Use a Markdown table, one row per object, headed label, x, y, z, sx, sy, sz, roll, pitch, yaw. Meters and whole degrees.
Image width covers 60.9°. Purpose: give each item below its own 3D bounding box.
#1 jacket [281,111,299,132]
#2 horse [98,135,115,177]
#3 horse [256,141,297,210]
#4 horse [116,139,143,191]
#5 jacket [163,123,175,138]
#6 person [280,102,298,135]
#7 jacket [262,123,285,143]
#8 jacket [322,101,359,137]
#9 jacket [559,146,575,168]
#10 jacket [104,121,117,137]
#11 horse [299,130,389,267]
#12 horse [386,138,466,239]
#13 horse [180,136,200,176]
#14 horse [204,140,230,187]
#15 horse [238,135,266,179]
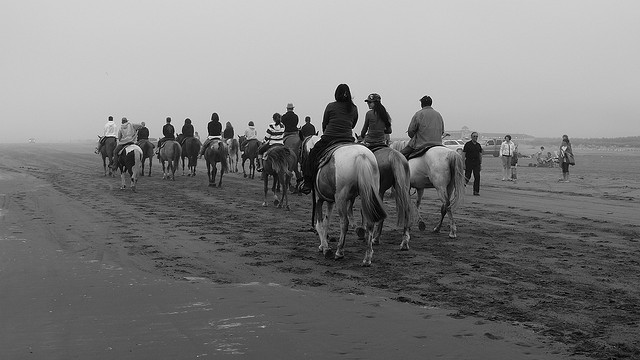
| label | x | y | z | sx | sy | sz | roll | pitch | yaw |
| --- | --- | --- | --- | --- | --- | --- | --- | --- | --- |
| jacket | -1.305 | -2.446 | 22.898 | 0.660 | 0.909 | 0.564 | -2 | 13 | -5 |
| horse | -12.060 | -1.579 | 31.221 | 0.771 | 2.264 | 3.022 | -7 | -4 | -22 |
| horse | -2.399 | -0.155 | 20.008 | 1.140 | 2.391 | 2.837 | 2 | 0 | -1 |
| horse | -8.973 | -0.974 | 25.448 | 0.779 | 2.099 | 3.002 | 2 | 7 | -29 |
| jacket | -8.681 | -2.785 | 31.134 | 0.571 | 0.858 | 0.868 | -4 | 13 | -16 |
| person | -1.411 | -2.541 | 23.421 | 0.579 | 1.060 | 1.833 | 7 | 19 | 4 |
| jacket | -1.908 | -2.060 | 23.041 | 0.794 | 0.774 | 0.986 | -2 | 13 | -6 |
| jacket | 0.510 | -1.544 | 14.117 | 0.934 | 0.984 | 0.606 | 9 | -14 | -9 |
| jacket | 13.421 | -1.298 | 29.631 | 0.691 | 1.222 | 1.274 | 5 | 14 | 23 |
| jacket | -11.637 | -2.831 | 30.176 | 0.554 | 0.835 | 0.411 | -7 | 14 | -26 |
| horse | 0.676 | 0.563 | 13.275 | 1.219 | 2.788 | 1.905 | -11 | 16 | -39 |
| horse | 3.232 | 0.127 | 16.979 | 1.295 | 3.105 | 4.609 | 1 | -2 | -15 |
| horse | -7.801 | -1.476 | 32.522 | 1.078 | 2.508 | 3.979 | 4 | -6 | -21 |
| horse | -5.413 | -0.887 | 28.392 | 1.192 | 2.436 | 4.457 | -3 | 13 | -11 |
| horse | -3.873 | -1.260 | 30.651 | 1.767 | 2.892 | 4.417 | 2 | 0 | -18 |
